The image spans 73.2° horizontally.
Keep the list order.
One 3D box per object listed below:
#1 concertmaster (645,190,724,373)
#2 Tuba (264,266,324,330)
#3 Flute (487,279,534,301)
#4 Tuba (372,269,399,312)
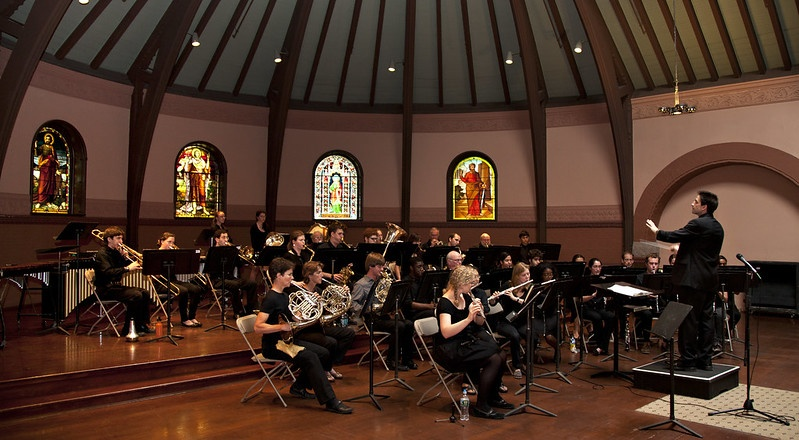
[{"bbox_3d":[6.203,1.214,11.493,1.429,4.267,1.450,1,1,11],"label":"concertmaster"},{"bbox_3d":[-1.918,1.570,10.823,0.502,1.128,0.604,1,-1,-38],"label":"Tuba"},{"bbox_3d":[2.449,1.531,11.706,0.165,0.176,1.206,38,-44,-25],"label":"Flute"},{"bbox_3d":[-0.358,1.597,12.259,0.441,0.790,0.469,40,-25,-26],"label":"Tuba"}]
